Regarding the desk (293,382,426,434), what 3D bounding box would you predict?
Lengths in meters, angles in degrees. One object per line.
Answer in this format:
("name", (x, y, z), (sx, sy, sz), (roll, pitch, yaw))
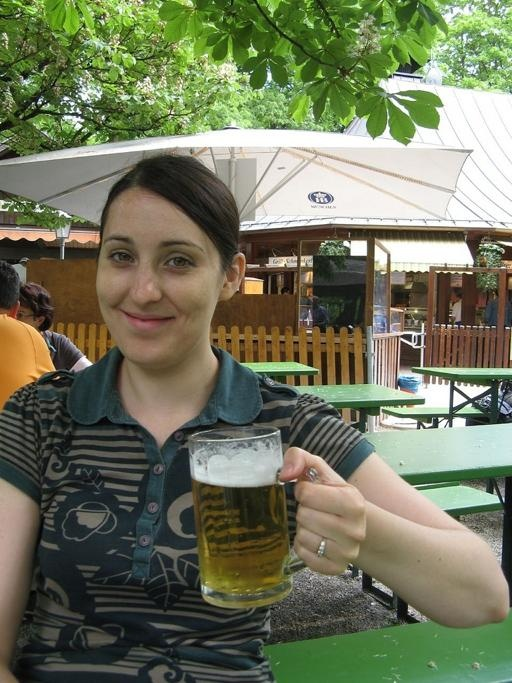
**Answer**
("desk", (0.736, 0.407, 4.831), (0.780, 0.396, 0.737), (-1, 1, -30))
